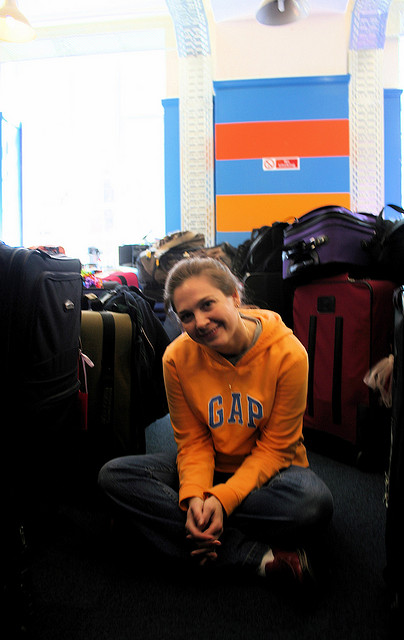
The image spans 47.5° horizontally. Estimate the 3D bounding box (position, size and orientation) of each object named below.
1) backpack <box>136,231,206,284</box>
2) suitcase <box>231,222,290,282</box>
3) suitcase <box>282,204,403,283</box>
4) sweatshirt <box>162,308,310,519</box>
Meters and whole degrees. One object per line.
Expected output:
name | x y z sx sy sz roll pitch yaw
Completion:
backpack | -0.283 -0.369 3.181 0.300 0.194 0.443 -10 2 -29
suitcase | 0.317 -0.346 2.521 0.351 0.453 0.299 0 7 6
suitcase | 0.468 -0.228 1.668 0.246 0.206 0.287 -1 0 1
sweatshirt | 0.080 0.223 1.177 0.286 0.471 0.360 5 17 14
